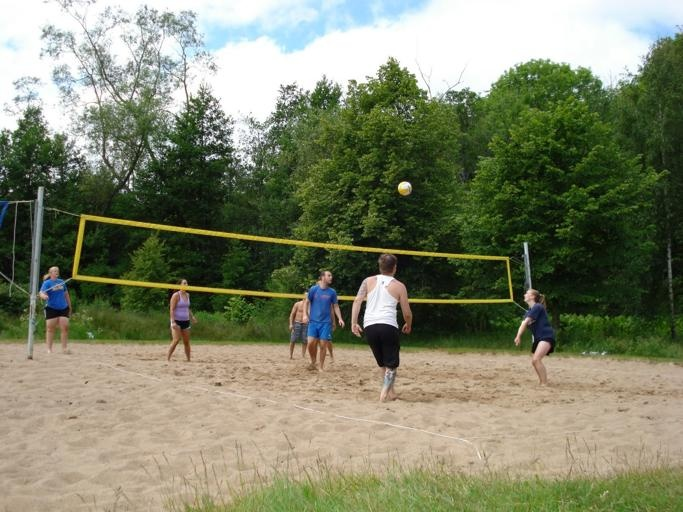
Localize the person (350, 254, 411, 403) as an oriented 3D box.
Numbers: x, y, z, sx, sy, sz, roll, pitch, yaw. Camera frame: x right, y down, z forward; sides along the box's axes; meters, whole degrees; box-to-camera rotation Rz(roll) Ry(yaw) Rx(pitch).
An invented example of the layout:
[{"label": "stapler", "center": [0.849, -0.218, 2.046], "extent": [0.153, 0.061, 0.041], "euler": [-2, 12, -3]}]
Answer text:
[{"label": "person", "center": [0.611, 1.076, 11.227], "extent": [0.888, 2.246, 1.023], "euler": [1, -4, 5]}]

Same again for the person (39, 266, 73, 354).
[{"label": "person", "center": [-5.613, 1.070, 14.386], "extent": [0.558, 1.652, 1.080], "euler": [2, -5, -19]}]
